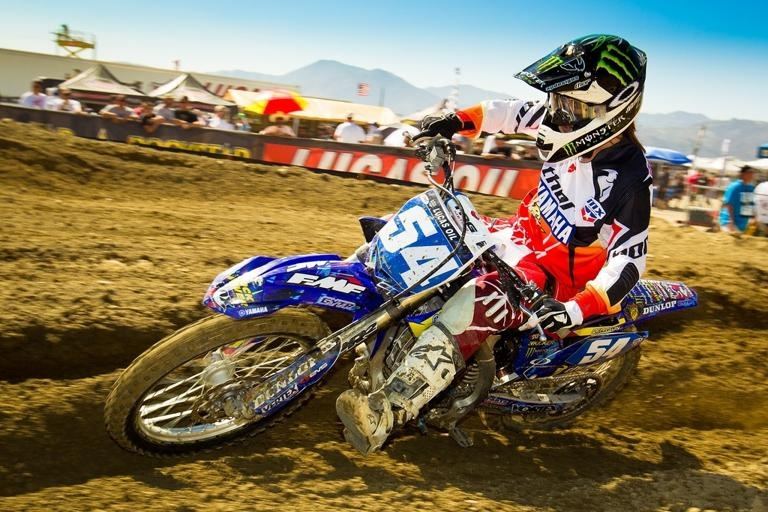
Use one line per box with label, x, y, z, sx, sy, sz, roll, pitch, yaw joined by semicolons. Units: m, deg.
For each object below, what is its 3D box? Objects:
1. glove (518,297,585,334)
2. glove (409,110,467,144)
glove;1.147;0.406;4.064;0.402;0.256;0.094;5;15;-21
glove;0.367;-0.938;4.468;0.554;0.142;0.285;-15;6;-31
